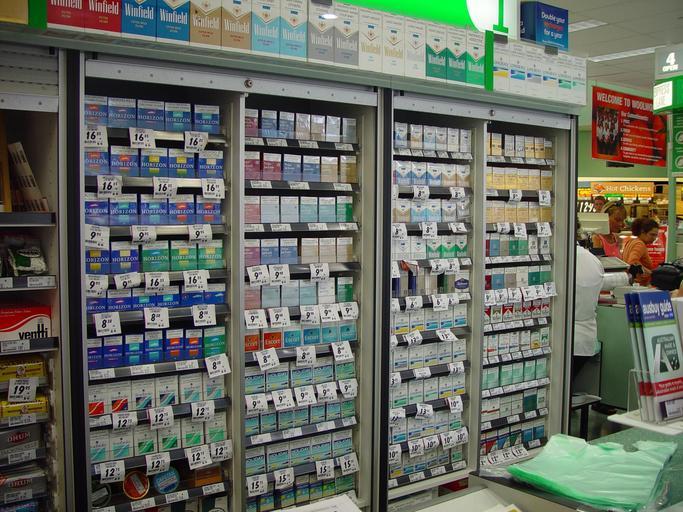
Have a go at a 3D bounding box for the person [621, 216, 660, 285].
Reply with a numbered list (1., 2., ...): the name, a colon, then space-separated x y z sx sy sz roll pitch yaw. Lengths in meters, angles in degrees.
1. person: 4.413 -0.081 8.152 0.478 0.985 2.131 -2 2 29
